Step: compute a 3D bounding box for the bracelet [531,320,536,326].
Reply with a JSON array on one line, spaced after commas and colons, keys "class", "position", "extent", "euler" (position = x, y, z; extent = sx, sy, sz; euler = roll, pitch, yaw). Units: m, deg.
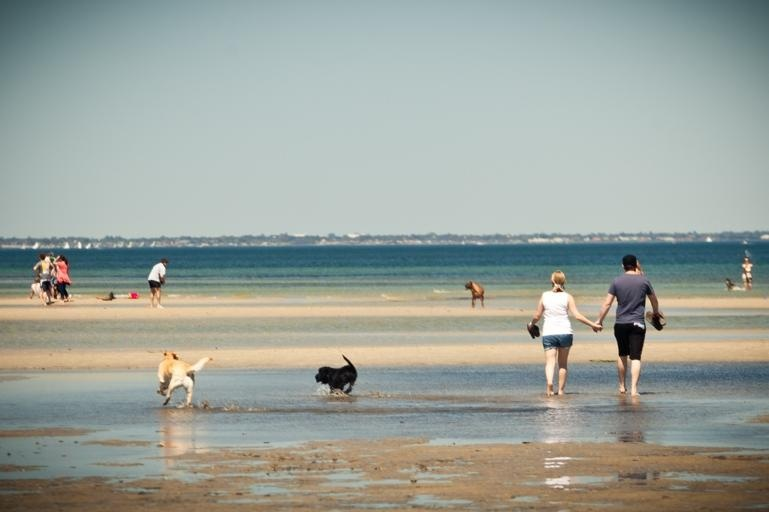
[{"class": "bracelet", "position": [3.195, 1.426, 30.239], "extent": [0.109, 0.042, 0.145], "euler": [-9, 10, -1]}]
